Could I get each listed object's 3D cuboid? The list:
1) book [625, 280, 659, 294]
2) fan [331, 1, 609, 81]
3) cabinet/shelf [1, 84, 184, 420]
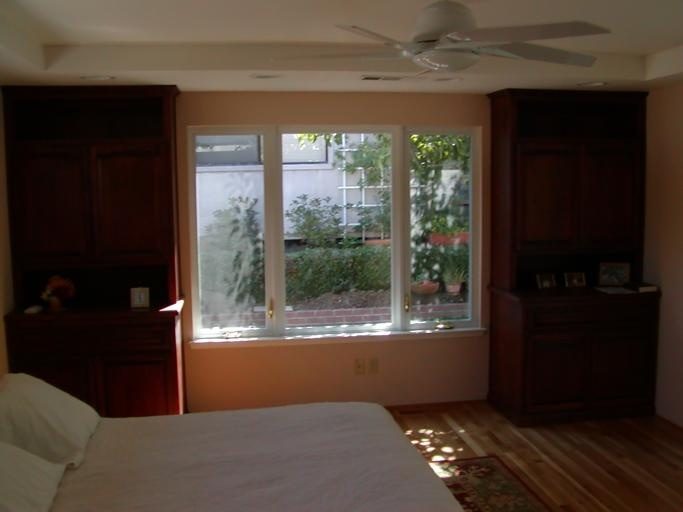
[{"bbox_3d":[2.628,0.262,4.559,0.275,0.045,0.216,2,12,7],"label":"book"},{"bbox_3d":[0.678,-1.119,2.633,1.213,0.328,0.594,3,13,13],"label":"fan"},{"bbox_3d":[-1.985,-0.057,4.198,1.333,2.543,0.730,-1,12,-6],"label":"cabinet/shelf"}]
